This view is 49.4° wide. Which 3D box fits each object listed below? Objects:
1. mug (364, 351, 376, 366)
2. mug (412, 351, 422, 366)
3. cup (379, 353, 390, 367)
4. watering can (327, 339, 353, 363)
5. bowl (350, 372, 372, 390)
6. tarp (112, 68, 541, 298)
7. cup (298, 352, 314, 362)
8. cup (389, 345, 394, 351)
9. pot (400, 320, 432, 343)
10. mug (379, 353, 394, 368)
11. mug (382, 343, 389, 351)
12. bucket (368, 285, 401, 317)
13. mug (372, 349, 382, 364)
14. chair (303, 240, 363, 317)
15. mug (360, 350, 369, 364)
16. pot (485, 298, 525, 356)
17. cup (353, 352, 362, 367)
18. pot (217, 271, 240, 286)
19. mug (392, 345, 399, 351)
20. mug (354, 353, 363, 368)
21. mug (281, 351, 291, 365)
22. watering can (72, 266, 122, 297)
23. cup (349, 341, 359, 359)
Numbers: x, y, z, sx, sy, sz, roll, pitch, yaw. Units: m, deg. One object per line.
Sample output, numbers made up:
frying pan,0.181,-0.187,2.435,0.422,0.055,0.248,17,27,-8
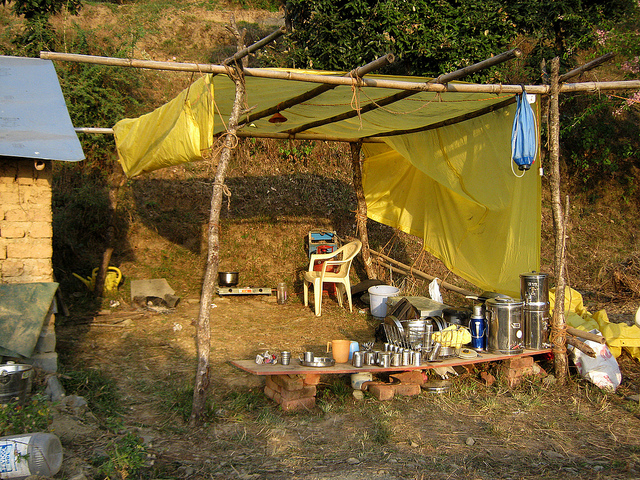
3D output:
mug,0.694,1.641,9.580,0.154,0.164,0.168,2,-4,-42
mug,1.347,1.654,9.702,0.160,0.185,0.165,0,0,14
cup,0.891,1.658,9.565,0.141,0.129,0.156,3,43,-3
watering can,0.269,1.565,9.826,0.289,0.235,0.244,-2,-6,11
bowl,0.584,1.948,9.773,0.270,0.255,0.247,0,0,0
tarp,-0.306,-0.721,11.072,5.696,2.919,5.146,-1,2,-24
cup,-0.180,1.608,9.582,0.183,0.167,0.108,2,-3,-3
cup,1.004,1.517,9.803,0.058,0.067,0.059,1,3,0
pot,1.376,1.261,9.904,0.301,0.271,0.372,0,-1,2
mug,0.917,1.654,9.575,0.197,0.134,0.180,5,43,-1
mug,0.916,1.510,9.832,0.094,0.103,0.096,4,5,29
bucket,1.187,1.098,12.731,0.519,0.403,0.535,1,4,0
mug,0.794,1.602,9.740,0.116,0.189,0.124,0,0,-19
chair,0.188,0.685,13.115,1.089,1.267,1.129,3,6,15
mug,0.609,1.614,9.673,0.138,0.151,0.133,0,2,-28
pot,2.680,1.252,10.229,0.815,0.901,0.697,1,-3,0
cup,0.520,1.643,9.519,0.123,0.153,0.163,0,44,-5
pot,-1.824,0.769,13.777,0.337,0.212,0.324,0,-4,0
mug,1.058,1.523,9.783,0.062,0.045,0.062,2,4,10
mug,0.533,1.645,9.514,0.116,0.135,0.188,6,43,1
mug,-0.470,1.615,9.451,0.147,0.161,0.148,0,-5,6
watering can,-4.139,0.783,13.018,0.702,0.300,0.494,-5,3,-2
cup,0.495,1.545,9.806,0.196,0.191,0.204,0,3,0
